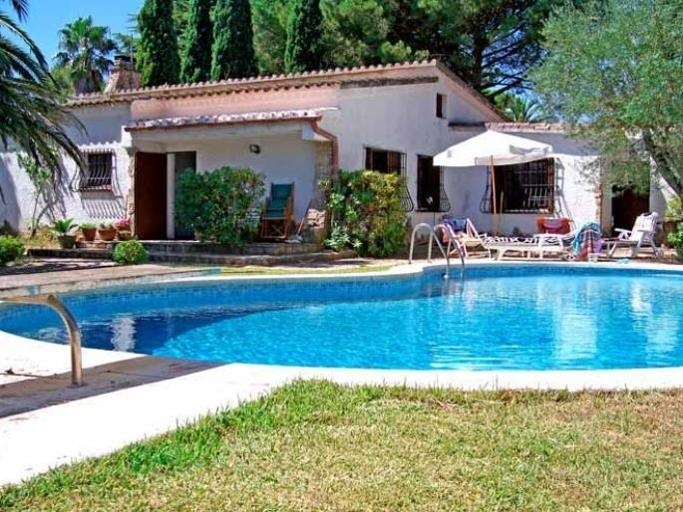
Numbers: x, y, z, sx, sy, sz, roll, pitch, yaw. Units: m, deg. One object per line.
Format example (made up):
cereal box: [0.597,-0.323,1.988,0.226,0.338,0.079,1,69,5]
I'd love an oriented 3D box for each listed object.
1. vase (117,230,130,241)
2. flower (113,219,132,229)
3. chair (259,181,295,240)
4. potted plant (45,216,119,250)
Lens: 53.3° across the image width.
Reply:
vase: [-5.463,-0.512,16.976,0.285,0.209,0.294,0,6,8]
flower: [-5.686,-0.814,17.554,0.294,0.213,0.291,0,-2,-43]
chair: [-1.572,-1.069,16.264,0.791,1.337,0.585,1,5,14]
potted plant: [-6.766,-0.637,17.829,1.507,0.716,2.494,-3,6,-24]
